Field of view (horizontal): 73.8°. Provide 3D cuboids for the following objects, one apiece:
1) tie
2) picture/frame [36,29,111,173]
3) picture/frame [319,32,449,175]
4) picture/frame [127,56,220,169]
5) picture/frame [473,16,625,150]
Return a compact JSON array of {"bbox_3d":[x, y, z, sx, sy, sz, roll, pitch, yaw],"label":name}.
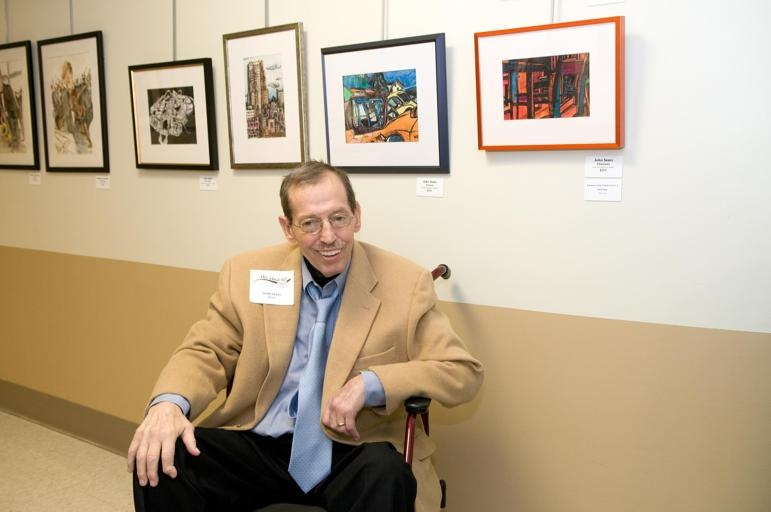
[{"bbox_3d":[-0.338,0.616,2.608,0.208,1.052,0.146,2,-21,19],"label":"tie"},{"bbox_3d":[-2.541,-1.227,4.185,0.760,1.087,0.112,3,10,25],"label":"picture/frame"},{"bbox_3d":[0.025,-0.930,3.070,0.879,0.969,0.039,0,5,22],"label":"picture/frame"},{"bbox_3d":[-1.565,-1.029,3.788,0.773,0.784,0.098,3,10,24],"label":"picture/frame"},{"bbox_3d":[0.891,-0.926,2.699,0.659,0.615,0.055,0,5,24],"label":"picture/frame"}]
